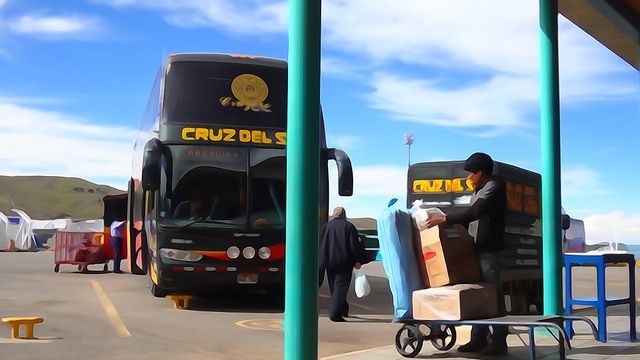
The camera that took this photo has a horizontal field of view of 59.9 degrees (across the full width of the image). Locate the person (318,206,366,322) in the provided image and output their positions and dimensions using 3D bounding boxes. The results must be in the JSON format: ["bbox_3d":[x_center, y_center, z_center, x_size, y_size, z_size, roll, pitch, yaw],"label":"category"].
[{"bbox_3d":[0.545,2.144,14.326,1.127,2.935,0.782,2,-9,0],"label":"person"}]

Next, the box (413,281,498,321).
[{"bbox_3d":[2.540,2.293,10.490,0.896,0.501,1.151,1,-5,-26],"label":"box"}]

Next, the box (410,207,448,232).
[{"bbox_3d":[2.125,0.761,10.889,0.614,0.177,0.437,-9,4,8],"label":"box"}]

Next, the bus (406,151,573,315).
[{"bbox_3d":[5.273,1.700,19.156,4.172,3.681,7.130,10,-1,24],"label":"bus"}]

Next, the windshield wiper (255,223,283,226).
[{"bbox_3d":[-1.354,1.190,15.066,0.620,0.088,0.096,2,-9,-4],"label":"windshield wiper"}]

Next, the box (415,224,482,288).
[{"bbox_3d":[2.401,1.474,10.615,1.247,1.025,0.672,-4,-14,-30],"label":"box"}]

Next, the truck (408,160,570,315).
[{"bbox_3d":[3.959,1.490,16.081,4.481,3.662,7.277,-2,-2,35],"label":"truck"}]
